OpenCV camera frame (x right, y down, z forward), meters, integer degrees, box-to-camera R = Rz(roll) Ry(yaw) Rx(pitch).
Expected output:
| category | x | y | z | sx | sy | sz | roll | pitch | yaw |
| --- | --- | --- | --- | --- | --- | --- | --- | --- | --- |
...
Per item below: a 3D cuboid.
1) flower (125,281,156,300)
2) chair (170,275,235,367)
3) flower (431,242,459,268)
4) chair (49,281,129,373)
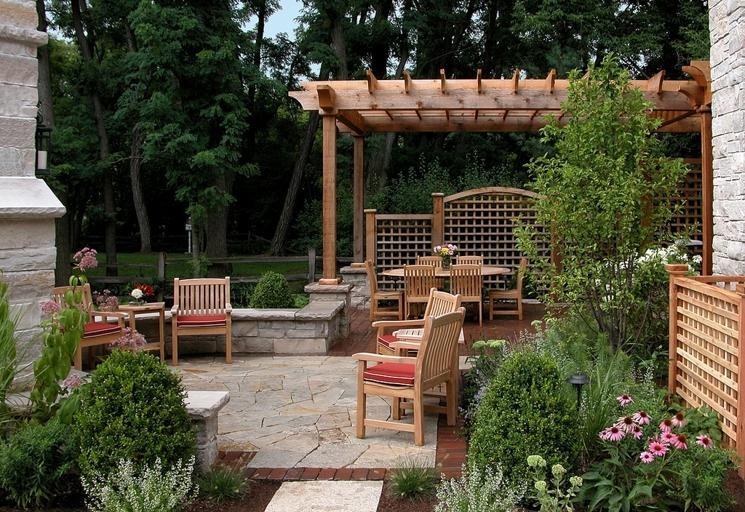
| category | x | y | z | sx | sy | sz | roll | pitch | yaw |
| --- | --- | --- | --- | --- | --- | --- | --- | --- | --- |
| flower | -4.699 | 0.676 | 13.631 | 0.428 | 0.353 | 0.423 | 11 | -10 | -36 |
| chair | -2.357 | 0.864 | 9.233 | 0.802 | 1.170 | 0.779 | -1 | 2 | -13 |
| flower | 1.334 | -0.033 | 12.103 | 0.442 | 0.437 | 0.433 | -3 | 5 | -34 |
| chair | -3.469 | 0.905 | 8.470 | 0.625 | 0.901 | 0.652 | 9 | -4 | -43 |
